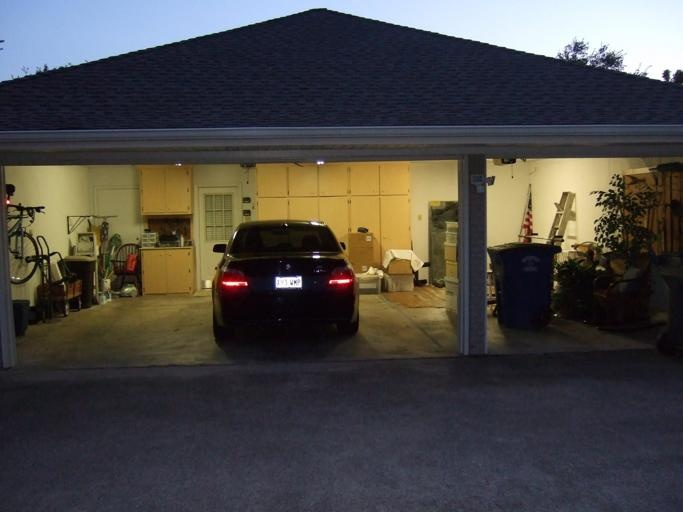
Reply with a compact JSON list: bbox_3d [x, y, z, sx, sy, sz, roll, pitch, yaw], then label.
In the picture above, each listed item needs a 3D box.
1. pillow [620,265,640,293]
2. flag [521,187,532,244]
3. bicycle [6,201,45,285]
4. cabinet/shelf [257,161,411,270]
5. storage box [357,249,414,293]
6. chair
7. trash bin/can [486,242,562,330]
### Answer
[{"bbox_3d":[4.791,0.379,9.383,0.424,0.365,0.231,-5,8,-32],"label":"pillow"},{"bbox_3d":[5.100,-1.195,15.457,0.215,1.471,0.529,-1,6,2],"label":"flag"},{"bbox_3d":[-6.199,-0.267,11.083,0.619,1.544,1.221,-4,8,-29],"label":"bicycle"},{"bbox_3d":[-0.243,-1.057,12.901,2.474,2.355,0.919,-1,-2,-4],"label":"cabinet/shelf"},{"bbox_3d":[1.279,0.442,14.039,1.085,0.730,1.127,0,4,-3],"label":"storage box"},{"bbox_3d":[4.713,0.581,9.443,0.891,1.112,1.142,3,8,29],"label":"chair"},{"bbox_3d":[3.233,0.514,9.756,1.282,1.568,1.296,0,1,-5],"label":"trash bin/can"}]
